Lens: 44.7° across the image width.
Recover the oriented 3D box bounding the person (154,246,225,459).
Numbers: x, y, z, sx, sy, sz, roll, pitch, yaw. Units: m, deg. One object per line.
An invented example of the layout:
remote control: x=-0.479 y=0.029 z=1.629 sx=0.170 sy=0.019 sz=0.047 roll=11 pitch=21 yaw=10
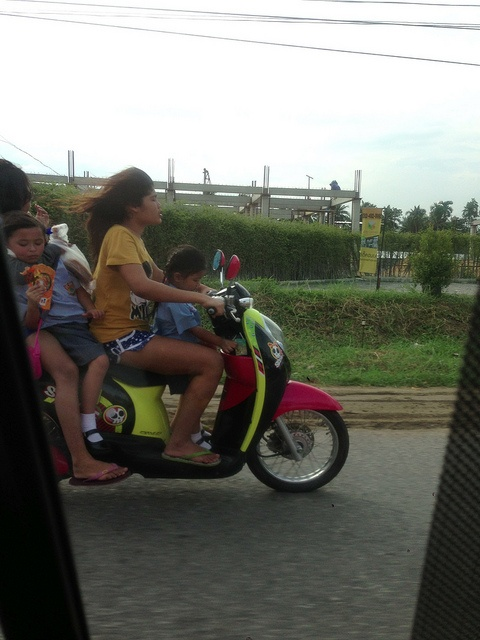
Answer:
person: x=-0.395 y=0.134 z=3.408 sx=0.582 sy=1.074 sz=0.517 roll=-1 pitch=14 yaw=-22

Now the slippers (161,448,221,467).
slippers: x=-0.264 y=0.745 z=3.208 sx=0.303 sy=0.069 sz=0.107 roll=3 pitch=2 yaw=-3

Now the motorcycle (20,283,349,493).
motorcycle: x=-0.101 y=0.480 z=3.724 sx=2.148 sy=1.180 sz=0.882 roll=-2 pitch=8 yaw=-4

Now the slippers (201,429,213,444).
slippers: x=-0.199 y=0.692 z=3.528 sx=0.042 sy=0.042 sz=0.072 roll=4 pitch=22 yaw=12

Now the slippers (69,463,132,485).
slippers: x=-0.737 y=0.814 z=3.040 sx=0.246 sy=0.057 sz=0.122 roll=-9 pitch=-7 yaw=13
